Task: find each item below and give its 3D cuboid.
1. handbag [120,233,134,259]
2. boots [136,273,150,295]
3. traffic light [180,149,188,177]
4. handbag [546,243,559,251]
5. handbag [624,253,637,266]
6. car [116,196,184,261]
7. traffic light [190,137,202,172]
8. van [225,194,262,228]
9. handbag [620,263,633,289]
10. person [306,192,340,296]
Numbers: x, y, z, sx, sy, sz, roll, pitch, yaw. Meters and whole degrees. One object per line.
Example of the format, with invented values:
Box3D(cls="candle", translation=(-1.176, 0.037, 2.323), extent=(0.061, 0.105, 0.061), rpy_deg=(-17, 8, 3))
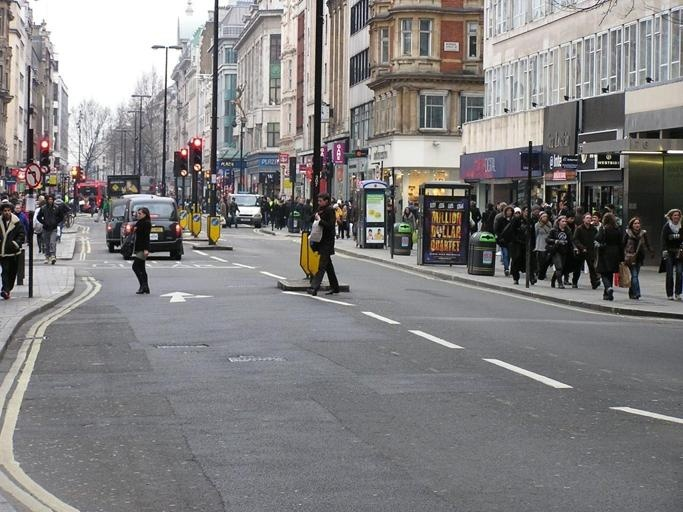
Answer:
Box3D(cls="handbag", translation=(-6.739, -0.300, 31.892), extent=(0.271, 0.762, 0.504), rpy_deg=(6, -16, 7))
Box3D(cls="boots", translation=(-4.305, 0.592, 22.039), extent=(0.316, 0.444, 0.584), rpy_deg=(0, 4, -12))
Box3D(cls="traffic light", translation=(-6.711, -3.920, 43.131), extent=(0.310, 1.135, 1.002), rpy_deg=(0, 4, -9))
Box3D(cls="handbag", translation=(5.169, -0.189, 25.108), extent=(0.161, 0.202, 0.447), rpy_deg=(-1, 4, -19))
Box3D(cls="handbag", translation=(6.336, 0.091, 22.331), extent=(0.208, 0.286, 0.138), rpy_deg=(1, -7, 0))
Box3D(cls="car", translation=(-6.158, -0.981, 33.321), extent=(1.415, 1.560, 2.920), rpy_deg=(0, 8, -11))
Box3D(cls="traffic light", translation=(-5.992, -4.100, 41.599), extent=(0.488, 1.340, 1.954), rpy_deg=(0, 4, -9))
Box3D(cls="van", translation=(-6.635, -3.025, 69.177), extent=(2.312, 2.214, 2.945), rpy_deg=(0, 4, -5))
Box3D(cls="handbag", translation=(6.195, 0.420, 22.184), extent=(0.196, 0.537, 0.459), rpy_deg=(1, -3, 6))
Box3D(cls="person", translation=(-0.378, -0.240, 21.855), extent=(0.629, 2.152, 0.934), rpy_deg=(0, 4, 0))
